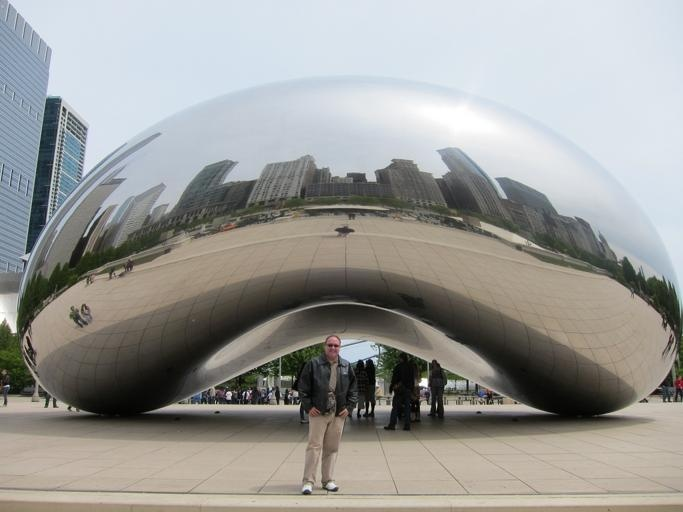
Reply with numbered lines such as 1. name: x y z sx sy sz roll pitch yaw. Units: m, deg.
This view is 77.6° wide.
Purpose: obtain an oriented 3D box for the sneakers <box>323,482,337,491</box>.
1. sneakers: -0.122 2.714 4.991 0.148 0.092 0.176 5 -19 -16

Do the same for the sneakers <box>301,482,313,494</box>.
1. sneakers: -0.390 2.666 4.851 0.110 0.097 0.227 2 -22 -5

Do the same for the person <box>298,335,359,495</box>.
1. person: -0.174 1.913 5.224 0.659 1.761 0.524 -5 -20 13
